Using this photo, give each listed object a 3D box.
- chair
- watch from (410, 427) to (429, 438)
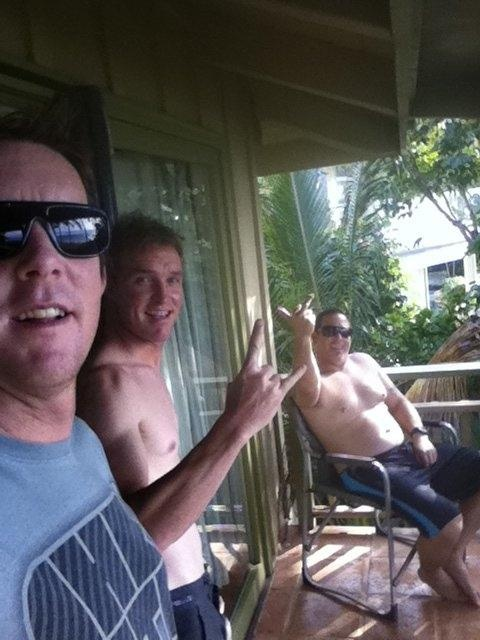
[{"bbox_3d":[0.746,1.013,3.358,1.041,1.459,0.854,-1,1,28],"label":"chair"},{"bbox_3d":[0.966,0.607,3.025,0.069,0.073,0.047,2,38,-12],"label":"watch"}]
